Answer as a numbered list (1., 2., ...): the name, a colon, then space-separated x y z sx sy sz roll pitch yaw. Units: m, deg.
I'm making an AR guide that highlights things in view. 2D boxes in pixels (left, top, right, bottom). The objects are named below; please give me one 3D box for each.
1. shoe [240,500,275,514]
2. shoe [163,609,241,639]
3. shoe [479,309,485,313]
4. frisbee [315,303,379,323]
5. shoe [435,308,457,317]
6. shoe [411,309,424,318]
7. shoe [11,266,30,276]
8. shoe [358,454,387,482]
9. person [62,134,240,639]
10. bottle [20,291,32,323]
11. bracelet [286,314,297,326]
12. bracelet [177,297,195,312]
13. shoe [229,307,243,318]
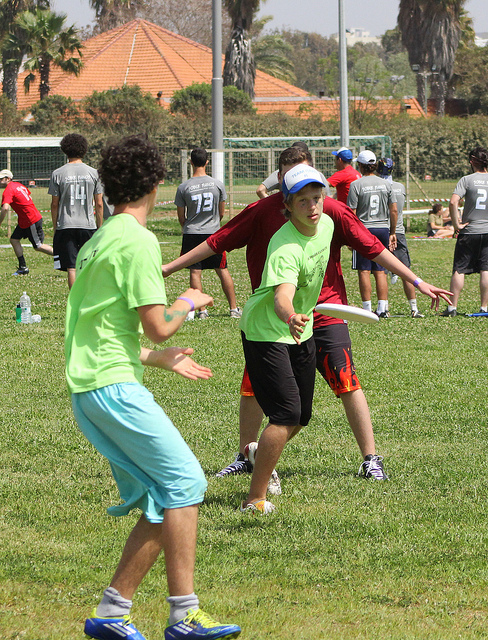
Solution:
1. shoe: 0.074 0.981 5.479 0.179 0.081 0.067 -1 5 1
2. shoe: -0.161 1.146 3.945 0.306 0.132 0.107 -4 -8 8
3. shoe: 2.668 -0.100 11.894 0.038 0.029 0.039 1 3 1
4. frisbee: 0.529 -0.029 5.510 0.322 0.109 0.261 0 5 7
5. shoe: 2.287 -0.081 11.975 0.209 0.090 0.079 3 -3 19
6. shoe: 1.963 -0.065 11.976 0.062 0.088 0.194 2 3 30
7. shoe: -3.298 -0.725 15.745 0.234 0.117 0.083 -1 2 -3
8. shoe: 0.732 0.850 6.044 0.155 0.134 0.161 0 6 4
9. person: -0.391 0.229 4.033 0.555 1.904 0.619 -1 6 -10
10. bottle: -2.336 -0.136 11.413 0.123 0.323 0.264 -2 6 -12
11. bracelet: 0.210 0.000 4.690 0.043 0.040 0.043 13 7 41
12. bracelet: -0.223 -0.059 4.140 0.063 0.057 0.100 -1 6 -4
13. shoe: -0.082 -0.081 11.771 0.093 0.100 0.236 2 6 17
